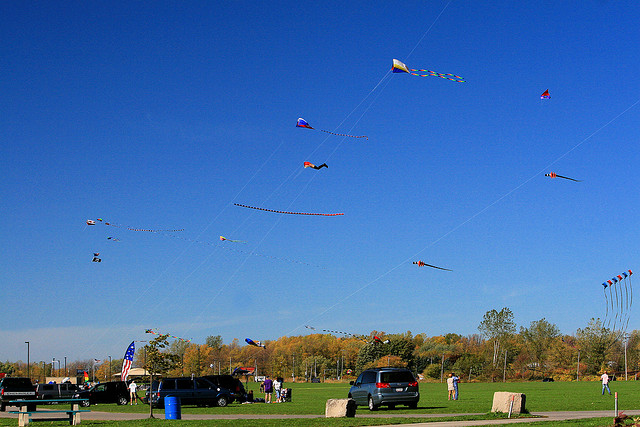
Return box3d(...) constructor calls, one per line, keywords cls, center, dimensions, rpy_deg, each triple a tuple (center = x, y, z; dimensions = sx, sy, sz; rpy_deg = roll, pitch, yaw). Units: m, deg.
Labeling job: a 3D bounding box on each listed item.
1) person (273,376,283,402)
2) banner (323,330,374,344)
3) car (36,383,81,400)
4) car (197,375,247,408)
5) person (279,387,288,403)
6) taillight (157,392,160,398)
box3d(cls="person", center=(-4.637, 18.913, 83.919), dimensions=(0.682, 2.632, 1.298), rpy_deg=(0, -16, -4))
box3d(cls="banner", center=(6.945, 32.454, 206.878), dimensions=(14.338, 0.367, 1.680), rpy_deg=(19, -21, 9))
box3d(cls="car", center=(-28.170, 19.421, 83.238), dimensions=(4.561, 1.692, 2.492), rpy_deg=(-1, -3, -14))
box3d(cls="car", center=(-10.145, 18.569, 82.332), dimensions=(4.529, 2.248, 2.745), rpy_deg=(-7, -10, 28))
box3d(cls="person", center=(-3.761, 19.747, 84.511), dimensions=(0.936, 1.568, 1.294), rpy_deg=(1, -2, -5))
box3d(cls="taillight", center=(-16.221, 18.025, 77.516), dimensions=(0.119, 0.388, 0.388), rpy_deg=(13, -22, -41))
